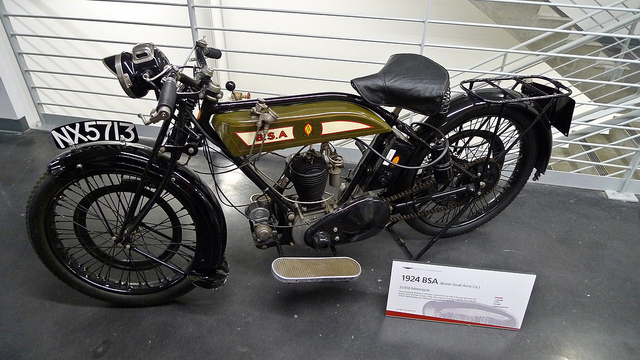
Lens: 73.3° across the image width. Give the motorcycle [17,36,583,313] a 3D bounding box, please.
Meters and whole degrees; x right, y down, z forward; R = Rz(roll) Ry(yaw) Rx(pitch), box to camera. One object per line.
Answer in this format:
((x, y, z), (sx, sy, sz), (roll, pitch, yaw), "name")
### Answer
((-0.081, -0.078, 3.620), (4.546, 1.793, 1.664), (-7, 15, -7), "motorcycle")
